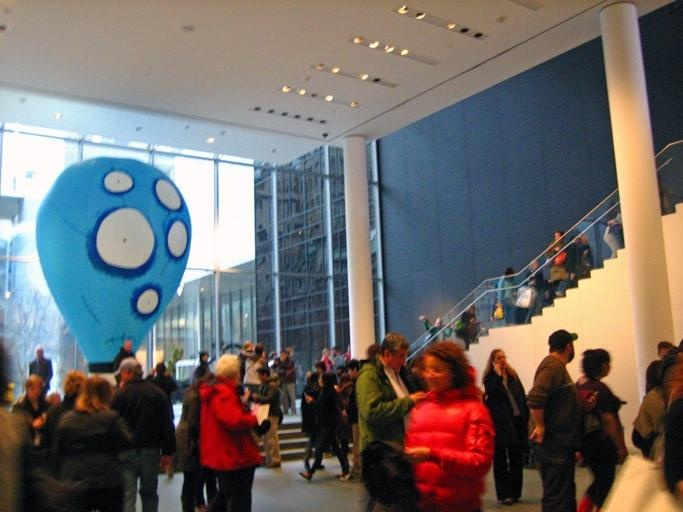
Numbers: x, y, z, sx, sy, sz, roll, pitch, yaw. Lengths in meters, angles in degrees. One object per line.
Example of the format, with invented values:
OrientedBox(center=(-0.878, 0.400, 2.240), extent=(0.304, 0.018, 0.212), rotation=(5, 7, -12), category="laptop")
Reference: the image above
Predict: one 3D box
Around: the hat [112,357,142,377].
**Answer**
OrientedBox(center=(-2.300, 1.200, 6.667), extent=(0.279, 0.182, 0.236), rotation=(-2, -7, -1), category="hat")

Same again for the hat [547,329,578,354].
OrientedBox(center=(2.075, 0.801, 5.821), extent=(0.195, 0.199, 0.413), rotation=(-5, -8, 22), category="hat")

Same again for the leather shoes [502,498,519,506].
OrientedBox(center=(2.071, 3.031, 7.576), extent=(0.080, 0.064, 0.229), rotation=(-1, -20, 1), category="leather shoes")
